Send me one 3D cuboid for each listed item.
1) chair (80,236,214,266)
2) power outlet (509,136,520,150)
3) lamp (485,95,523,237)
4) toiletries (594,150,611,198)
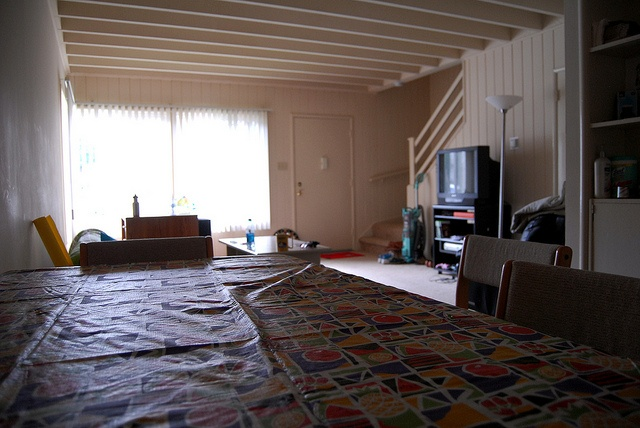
[{"bbox_3d":[-0.900,0.194,2.209,0.651,0.130,0.207,-4,10,-20],"label":"chair"},{"bbox_3d":[2.276,-0.834,4.948,0.083,0.163,0.163,-3,5,-16],"label":"power outlet"},{"bbox_3d":[2.061,-0.524,4.820,0.355,1.631,0.730,3,10,24],"label":"lamp"},{"bbox_3d":[1.899,-0.264,2.857,0.128,0.317,0.083,-6,7,-28],"label":"toiletries"}]
